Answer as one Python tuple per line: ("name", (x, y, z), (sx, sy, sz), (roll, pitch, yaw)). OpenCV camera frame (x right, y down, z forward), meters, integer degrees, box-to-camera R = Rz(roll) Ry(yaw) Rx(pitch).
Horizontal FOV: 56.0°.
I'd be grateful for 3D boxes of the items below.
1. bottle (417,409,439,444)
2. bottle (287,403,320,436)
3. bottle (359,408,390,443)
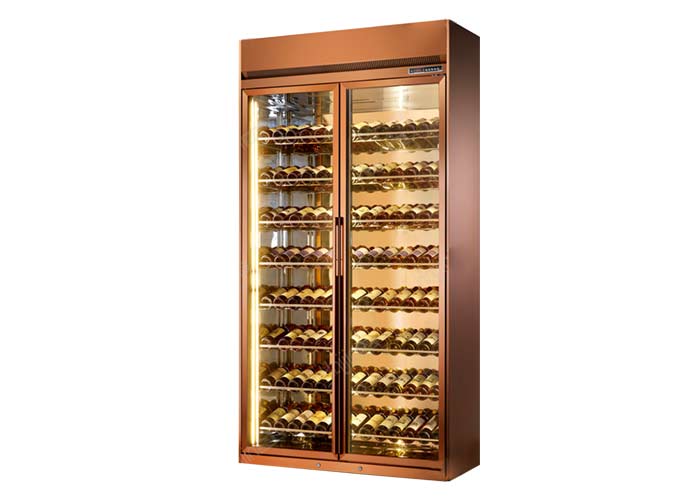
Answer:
("bottle", (0.570, 1.321, 4.887), (0.150, 0.161, 0.111), (2, -16, -2))
("bottle", (-0.367, 1.337, 5.151), (0.090, 0.067, 0.308), (29, 11, 4))
("bottle", (0.174, 1.342, 4.984), (0.077, 0.062, 0.277), (37, 25, 8))
